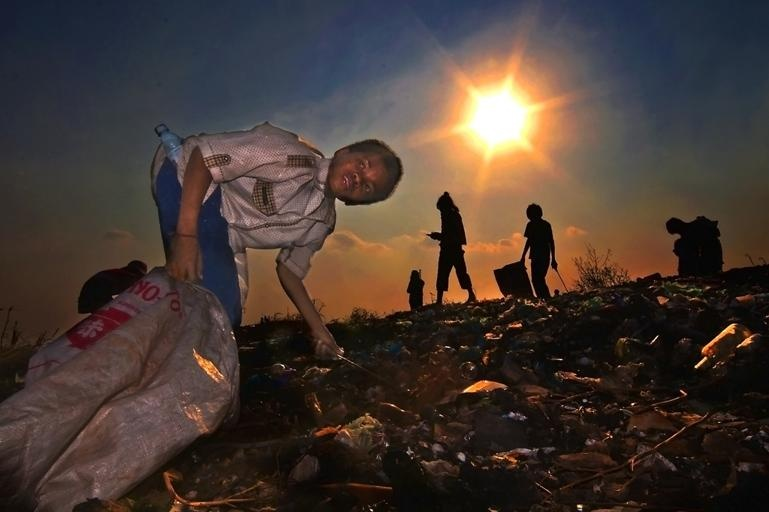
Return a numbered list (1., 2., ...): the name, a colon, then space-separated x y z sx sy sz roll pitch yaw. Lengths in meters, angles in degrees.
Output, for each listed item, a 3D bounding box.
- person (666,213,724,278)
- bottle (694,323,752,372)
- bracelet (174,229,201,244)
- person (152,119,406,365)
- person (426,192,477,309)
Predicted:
1. person: 4.666 0.017 7.757 0.694 1.185 0.776 8 -2 -4
2. bottle: 2.421 0.666 3.585 0.398 0.267 0.258 -12 16 -34
3. bracelet: -1.177 -0.101 2.960 0.093 0.091 0.093 4 -4 -20
4. person: -0.739 -0.021 3.352 1.399 1.725 0.833 -8 14 -20
5. person: 1.140 -0.128 8.669 0.710 1.866 1.299 -2 13 5
